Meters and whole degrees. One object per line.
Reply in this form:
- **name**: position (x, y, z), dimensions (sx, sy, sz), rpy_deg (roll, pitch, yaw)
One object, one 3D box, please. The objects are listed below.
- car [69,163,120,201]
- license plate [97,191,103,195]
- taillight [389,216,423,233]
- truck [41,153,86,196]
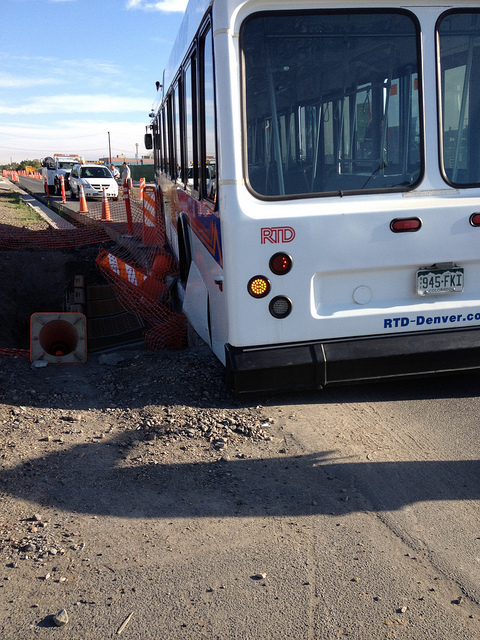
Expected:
- **car**: position (-8.203, -7.532, 29.907), dimensions (2.033, 1.741, 4.106), rpy_deg (-4, 15, -18)
- **license plate**: position (-7.392, -6.592, 28.273), dimensions (0.268, 0.158, 0.195), rpy_deg (1, 6, -1)
- **taillight**: position (1.128, -0.646, 3.700), dimensions (0.236, 0.102, 0.013), rpy_deg (-4, 10, -13)
- **truck**: position (-11.240, -9.299, 35.122), dimensions (2.077, 2.529, 4.596), rpy_deg (-5, 2, -17)
